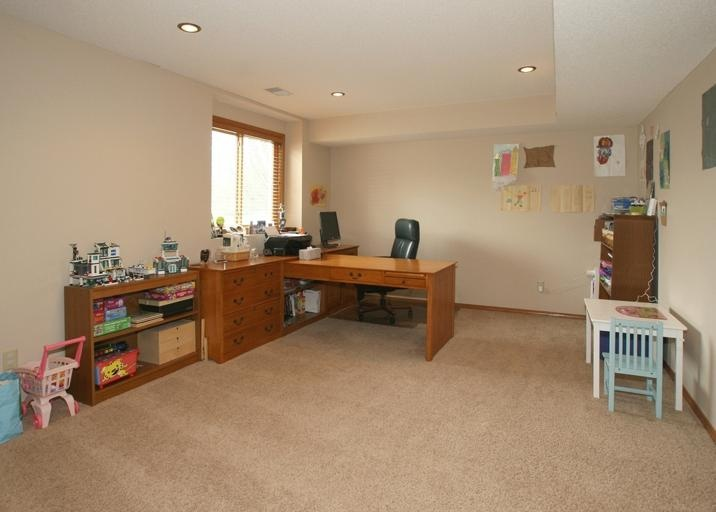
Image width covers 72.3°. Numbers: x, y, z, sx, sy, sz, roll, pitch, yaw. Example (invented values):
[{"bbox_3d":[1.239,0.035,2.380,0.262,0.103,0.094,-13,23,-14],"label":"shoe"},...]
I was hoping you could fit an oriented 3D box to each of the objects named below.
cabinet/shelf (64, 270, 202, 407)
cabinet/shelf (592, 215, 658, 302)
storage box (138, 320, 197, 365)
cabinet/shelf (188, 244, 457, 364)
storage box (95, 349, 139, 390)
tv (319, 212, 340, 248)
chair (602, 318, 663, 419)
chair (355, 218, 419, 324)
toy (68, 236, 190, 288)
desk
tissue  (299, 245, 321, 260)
[{"bbox_3d":[-2.123,0.691,4.800,0.404,1.112,1.240,12,16,25],"label":"cabinet/shelf"},{"bbox_3d":[2.893,0.033,5.249,0.295,0.888,0.937,1,2,24],"label":"cabinet/shelf"},{"bbox_3d":[-1.963,0.878,5.066,0.264,0.338,0.512,4,7,23],"label":"storage box"},{"bbox_3d":[-0.130,0.476,6.368,2.852,1.080,2.944,-1,6,9],"label":"cabinet/shelf"},{"bbox_3d":[-2.262,1.030,4.534,0.199,0.249,0.357,4,11,33],"label":"storage box"},{"bbox_3d":[-0.435,-0.377,7.193,0.196,0.557,0.546,-2,3,18],"label":"tv"},{"bbox_3d":[2.458,0.935,4.375,0.462,0.834,0.616,1,7,28],"label":"chair"},{"bbox_3d":[0.389,0.181,6.633,0.824,1.344,0.888,1,9,-12],"label":"chair"},{"bbox_3d":[-2.192,0.079,4.835,0.331,0.455,1.107,2,2,28],"label":"toy"},{"bbox_3d":[2.580,0.647,4.583,0.782,0.936,1.412,0,2,25],"label":"desk"},{"bbox_3d":[-0.608,-0.077,6.076,0.137,0.175,0.256,0,3,22],"label":"tissue "}]
